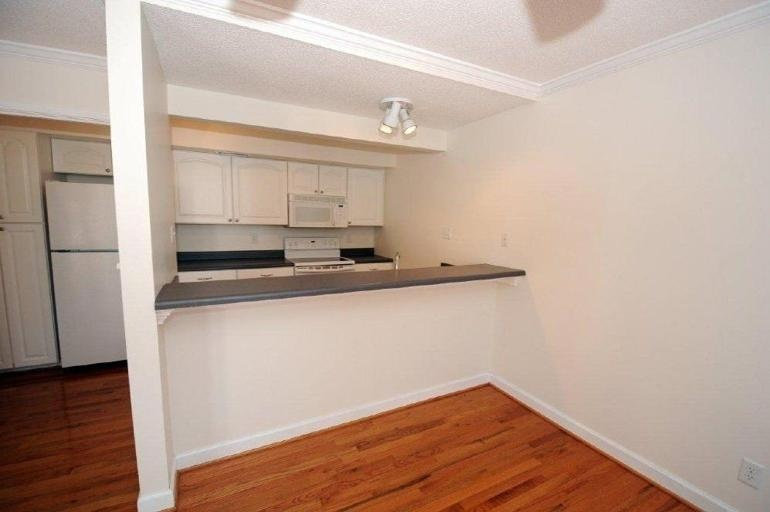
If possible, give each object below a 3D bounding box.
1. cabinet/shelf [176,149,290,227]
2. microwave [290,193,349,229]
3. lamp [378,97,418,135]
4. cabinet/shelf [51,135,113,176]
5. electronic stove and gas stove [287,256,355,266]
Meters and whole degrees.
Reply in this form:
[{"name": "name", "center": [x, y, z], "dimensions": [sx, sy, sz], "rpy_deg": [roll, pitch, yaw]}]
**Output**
[{"name": "cabinet/shelf", "center": [-1.784, -0.670, 5.486], "dimensions": [1.325, 0.746, 0.701], "rpy_deg": [-3, 2, -40]}, {"name": "microwave", "center": [-0.738, -0.504, 5.670], "dimensions": [0.759, 0.344, 0.377], "rpy_deg": [-2, 5, -33]}, {"name": "lamp", "center": [0.117, -1.179, 4.304], "dimensions": [0.287, 0.273, 0.343], "rpy_deg": [-2, 4, 2]}, {"name": "cabinet/shelf", "center": [-2.951, -0.954, 4.946], "dimensions": [0.333, 0.316, 0.552], "rpy_deg": [5, 5, 44]}, {"name": "electronic stove and gas stove", "center": [-0.721, 0.058, 5.741], "dimensions": [0.749, 0.077, 0.558], "rpy_deg": [-3, 4, -19]}]
